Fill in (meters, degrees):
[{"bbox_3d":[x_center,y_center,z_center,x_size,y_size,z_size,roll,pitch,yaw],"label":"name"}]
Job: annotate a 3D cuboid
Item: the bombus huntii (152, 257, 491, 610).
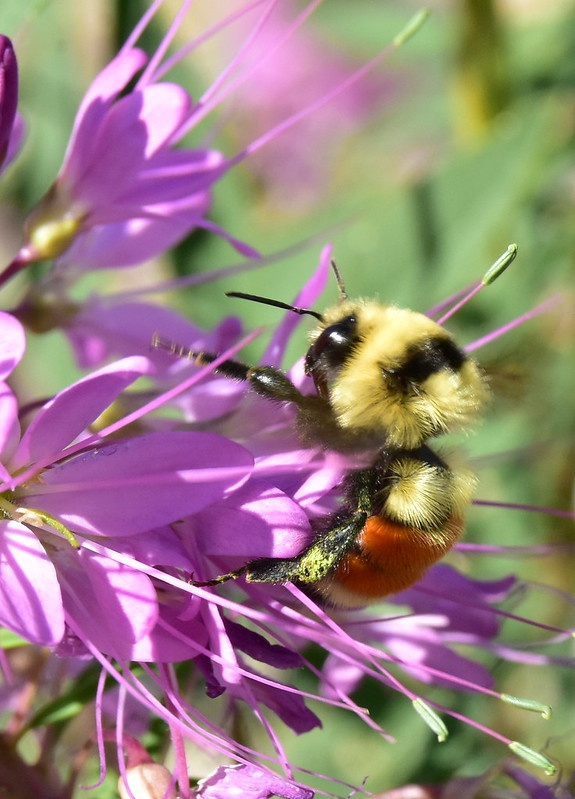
[{"bbox_3d":[-0.014,0.031,0.828,0.177,0.305,0.334,-5,7,40],"label":"bombus huntii"}]
